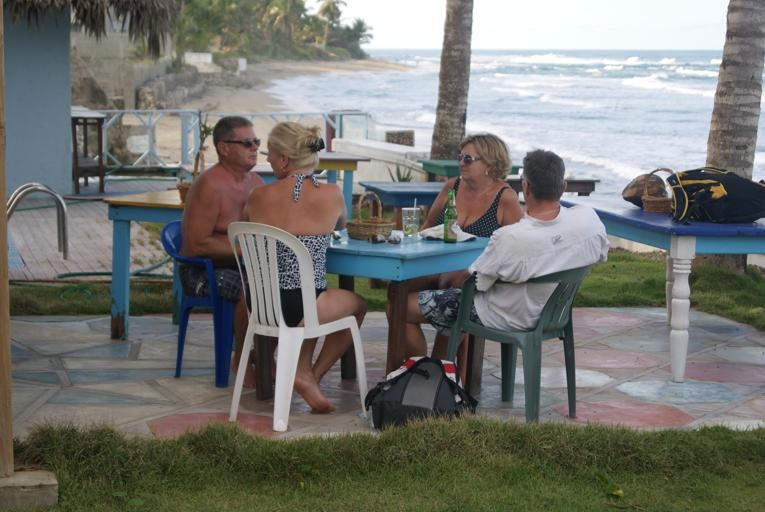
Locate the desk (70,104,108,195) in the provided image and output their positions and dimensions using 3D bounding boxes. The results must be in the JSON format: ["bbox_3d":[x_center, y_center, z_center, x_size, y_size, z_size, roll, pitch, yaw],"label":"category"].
[{"bbox_3d":[-5.184,-1.838,18.455,0.703,1.754,1.988,-3,11,-18],"label":"desk"}]

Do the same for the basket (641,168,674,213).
[{"bbox_3d":[2.675,-0.615,10.354,0.395,0.491,0.342,0,0,1],"label":"basket"}]

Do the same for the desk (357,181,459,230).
[{"bbox_3d":[0.272,-0.685,12.107,0.681,0.664,0.686,0,10,-8],"label":"desk"}]

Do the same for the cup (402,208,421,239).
[{"bbox_3d":[0.256,-0.287,9.326,0.240,0.345,0.233,0,-4,0],"label":"cup"}]

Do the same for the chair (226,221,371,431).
[{"bbox_3d":[-0.747,0.567,8.519,1.055,1.644,0.572,1,10,-4],"label":"chair"}]

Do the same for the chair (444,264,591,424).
[{"bbox_3d":[1.127,0.695,8.824,1.123,1.354,1.156,2,1,0],"label":"chair"}]

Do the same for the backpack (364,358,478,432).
[{"bbox_3d":[0.299,1.125,8.348,0.890,0.574,0.336,3,10,4],"label":"backpack"}]
